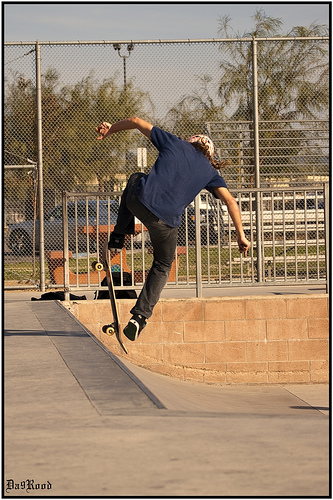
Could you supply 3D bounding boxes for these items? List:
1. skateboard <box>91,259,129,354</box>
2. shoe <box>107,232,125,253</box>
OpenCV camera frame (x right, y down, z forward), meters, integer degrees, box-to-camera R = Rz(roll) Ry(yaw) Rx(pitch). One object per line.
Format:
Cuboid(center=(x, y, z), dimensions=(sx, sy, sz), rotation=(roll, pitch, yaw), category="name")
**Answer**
Cuboid(center=(-0.389, 0.353, 5.585), dimensions=(0.144, 0.914, 0.178), rotation=(-8, 1, 2), category="skateboard")
Cuboid(center=(-0.358, -0.058, 5.506), dimensions=(0.113, 0.157, 0.218), rotation=(2, 7, -4), category="shoe")
